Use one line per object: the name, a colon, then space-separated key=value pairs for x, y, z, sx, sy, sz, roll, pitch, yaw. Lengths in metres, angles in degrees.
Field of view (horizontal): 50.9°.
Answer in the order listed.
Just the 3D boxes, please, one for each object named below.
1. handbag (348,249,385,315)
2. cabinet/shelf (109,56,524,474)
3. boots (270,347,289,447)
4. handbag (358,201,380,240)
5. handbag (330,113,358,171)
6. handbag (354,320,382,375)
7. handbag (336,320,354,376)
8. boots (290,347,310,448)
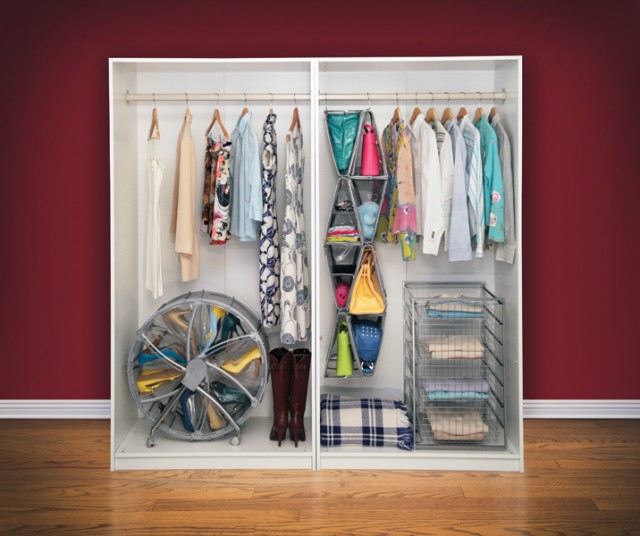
handbag: x=0.269 y=0.074 z=3.864 sx=0.200 sy=0.372 sz=0.127 roll=0 pitch=-1 yaw=5
cabinet/shelf: x=-0.032 y=-0.043 z=3.855 sx=1.885 sy=2.230 sz=0.611 roll=1 pitch=3 yaw=-2
boots: x=-0.239 y=0.741 z=3.829 sx=0.111 sy=0.517 sz=0.159 roll=1 pitch=-1 yaw=-3
handbag: x=0.272 y=-0.278 z=3.821 sx=0.121 sy=0.196 sz=0.058 roll=1 pitch=1 yaw=3
handbag: x=0.127 y=-0.718 z=3.871 sx=0.191 sy=0.350 sz=0.085 roll=0 pitch=-2 yaw=8
handbag: x=0.271 y=0.459 z=3.940 sx=0.172 sy=0.320 sz=0.128 roll=0 pitch=-1 yaw=2
handbag: x=0.141 y=0.469 z=3.917 sx=0.113 sy=0.309 sz=0.299 roll=0 pitch=-1 yaw=3
boots: x=-0.120 y=0.735 z=3.837 sx=0.120 sy=0.533 sz=0.204 roll=1 pitch=-1 yaw=-9
